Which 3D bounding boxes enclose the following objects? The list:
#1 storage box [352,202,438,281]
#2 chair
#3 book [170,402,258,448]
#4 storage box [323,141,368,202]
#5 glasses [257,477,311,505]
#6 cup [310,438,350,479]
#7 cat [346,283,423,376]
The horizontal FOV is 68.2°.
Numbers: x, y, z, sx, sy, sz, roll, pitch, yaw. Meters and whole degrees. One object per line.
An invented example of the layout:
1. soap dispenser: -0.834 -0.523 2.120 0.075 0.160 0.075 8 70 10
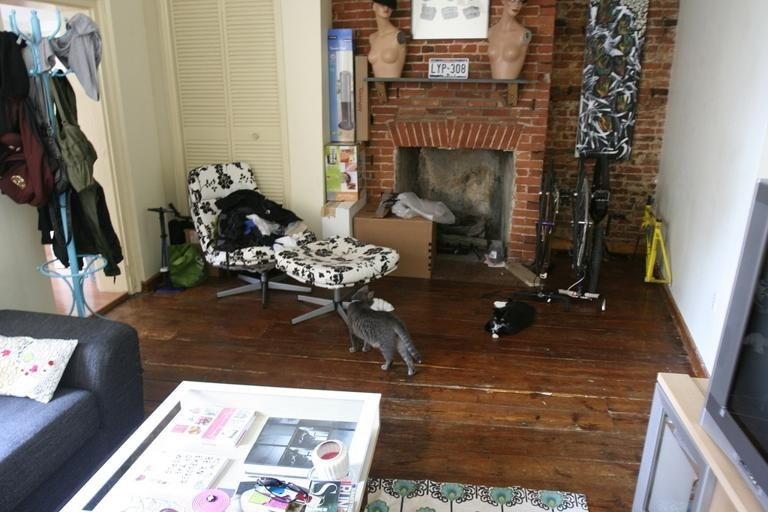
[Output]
1. storage box: 0.139 -0.134 5.360 0.643 0.451 0.631 4 21 5
2. chair: -0.717 0.015 4.708 1.494 0.827 0.748 10 -4 6
3. book: -0.862 0.837 2.825 0.271 0.034 0.189 5 27 11
4. storage box: -0.364 -0.796 5.470 0.476 0.586 0.616 3 20 6
5. glasses: -0.449 1.051 2.538 0.201 0.051 0.096 8 34 0
6. cup: -0.246 0.945 2.611 0.168 0.150 0.157 -4 30 2
7. cat: 0.000 0.552 4.041 0.205 0.397 0.746 -27 42 -33
